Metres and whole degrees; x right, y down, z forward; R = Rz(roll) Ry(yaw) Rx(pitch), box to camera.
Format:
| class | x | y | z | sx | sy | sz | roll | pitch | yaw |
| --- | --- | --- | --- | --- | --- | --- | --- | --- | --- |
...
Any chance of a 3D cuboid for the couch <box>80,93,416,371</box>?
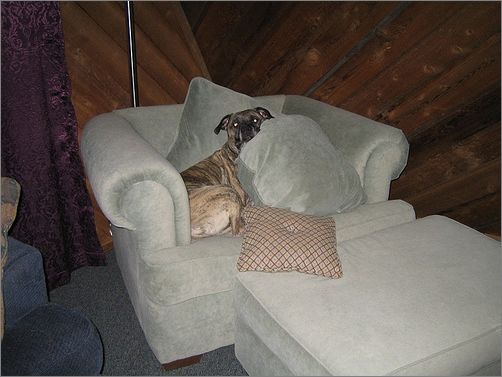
| class | x | y | z | sx | sy | sz | roll | pitch | yaw |
| --- | --- | --- | --- | --- | --- | --- | --- | --- | --- |
| couch | -0.165 | 0.235 | 2.513 | 1.965 | 1.152 | 1.357 | -17 | 49 | -18 |
